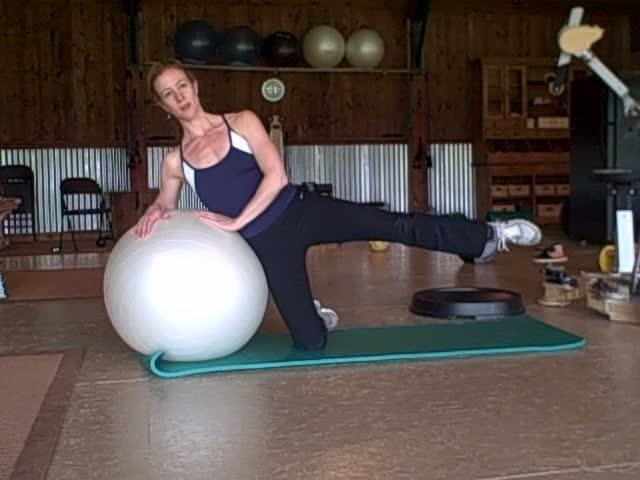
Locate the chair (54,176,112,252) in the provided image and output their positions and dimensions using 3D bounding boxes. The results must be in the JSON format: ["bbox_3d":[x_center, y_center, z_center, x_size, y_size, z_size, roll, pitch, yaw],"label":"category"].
[{"bbox_3d":[-2.939,-0.362,7.037,0.555,0.789,0.570,-4,5,-26],"label":"chair"}]

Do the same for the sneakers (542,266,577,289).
[{"bbox_3d":[1.510,0.229,3.513,0.090,0.137,0.251,-4,5,-34],"label":"sneakers"}]

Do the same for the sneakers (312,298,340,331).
[{"bbox_3d":[0.028,0.412,3.062,0.115,0.188,0.077,-46,16,-26],"label":"sneakers"}]

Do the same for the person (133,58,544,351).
[{"bbox_3d":[-0.040,-0.075,3.179,1.948,1.284,0.987,2,-9,-19],"label":"person"}]

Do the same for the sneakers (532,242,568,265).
[{"bbox_3d":[1.724,0.111,4.268,0.200,0.140,0.345,-1,2,-4],"label":"sneakers"}]
